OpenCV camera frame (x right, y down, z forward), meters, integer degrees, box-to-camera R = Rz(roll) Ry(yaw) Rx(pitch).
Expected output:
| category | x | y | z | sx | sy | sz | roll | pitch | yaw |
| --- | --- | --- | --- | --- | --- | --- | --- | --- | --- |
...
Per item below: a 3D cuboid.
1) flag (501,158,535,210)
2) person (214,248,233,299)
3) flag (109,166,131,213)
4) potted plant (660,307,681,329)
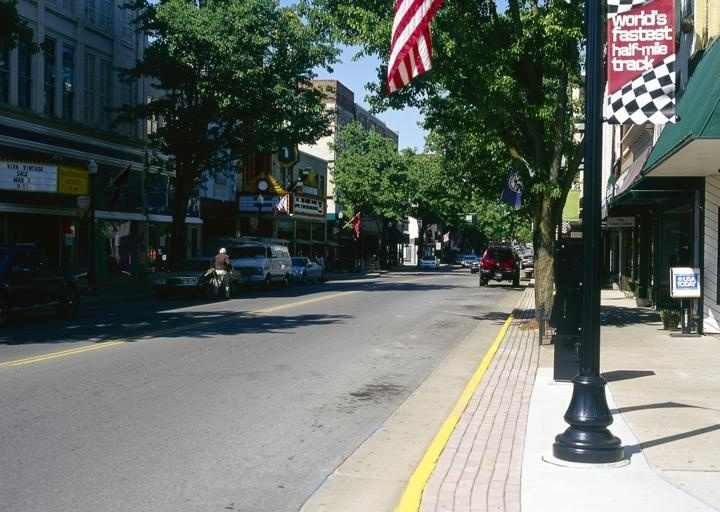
| category | x | y | z | sx | sy | sz | roll | pitch | yaw |
| --- | --- | --- | --- | --- | --- | --- | --- | --- | --- |
| flag | 5.180 | -2.411 | 24.652 | 0.150 | 1.213 | 2.934 | -41 | -20 | -14 |
| person | -5.477 | 0.649 | 30.176 | 0.643 | 2.013 | 1.119 | 0 | -2 | -12 |
| flag | -11.856 | -3.588 | 37.370 | 0.173 | 0.784 | 3.260 | -32 | -11 | -48 |
| potted plant | 8.039 | 1.594 | 19.352 | 0.434 | 0.557 | 0.512 | 0 | -5 | -1 |
